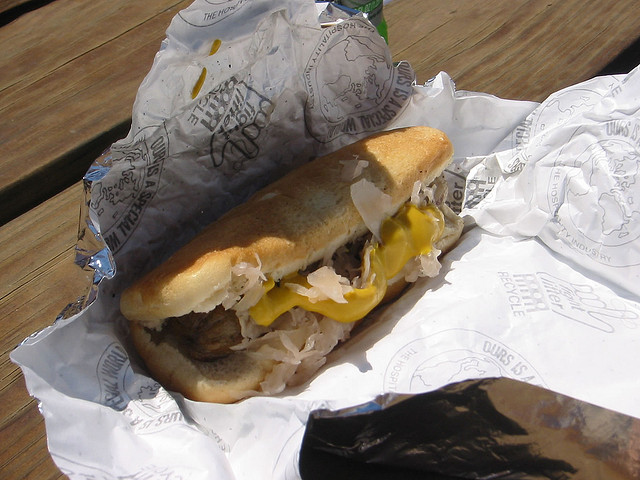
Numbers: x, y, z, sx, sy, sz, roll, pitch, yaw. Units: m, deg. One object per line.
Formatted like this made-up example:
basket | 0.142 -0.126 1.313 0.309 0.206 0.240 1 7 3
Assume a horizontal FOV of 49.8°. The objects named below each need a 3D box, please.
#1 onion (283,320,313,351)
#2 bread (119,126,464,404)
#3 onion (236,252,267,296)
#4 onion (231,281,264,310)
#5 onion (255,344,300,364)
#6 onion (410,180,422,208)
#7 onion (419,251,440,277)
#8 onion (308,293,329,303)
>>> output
onion | -0.073 0.345 2.514 0.088 0.026 0.086 34 66 -16
bread | 0.013 0.094 2.806 1.428 0.472 0.687 -38 58 -23
onion | -0.233 0.131 2.430 0.070 0.082 0.145 26 67 19
onion | -0.247 0.208 2.458 0.105 0.078 0.039 -48 68 5
onion | -0.149 0.417 2.509 0.152 0.030 0.041 16 64 15
onion | 0.383 -0.183 2.727 0.024 0.048 0.097 14 99 47
onion | 0.429 0.089 2.684 0.065 0.023 0.099 -13 104 -12
onion | -0.003 0.212 2.504 0.053 0.031 0.011 -16 23 -14
